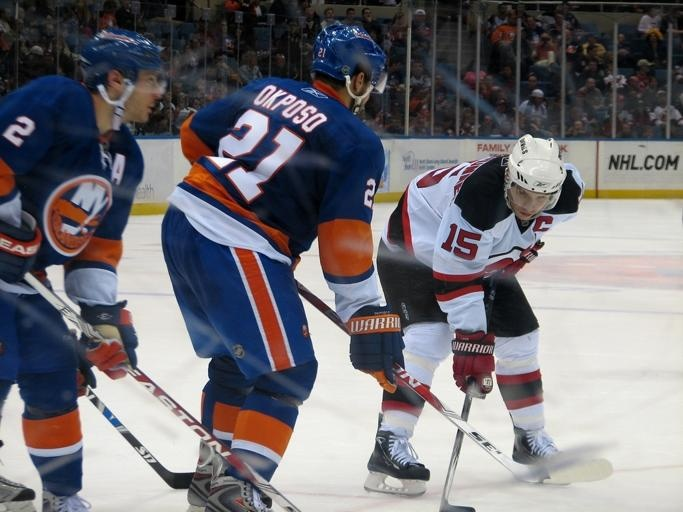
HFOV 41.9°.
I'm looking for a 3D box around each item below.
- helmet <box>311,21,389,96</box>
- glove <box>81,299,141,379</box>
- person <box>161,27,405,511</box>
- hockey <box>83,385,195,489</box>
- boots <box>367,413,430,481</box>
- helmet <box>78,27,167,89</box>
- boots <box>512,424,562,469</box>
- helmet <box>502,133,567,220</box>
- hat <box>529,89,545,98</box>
[{"bbox_3d":[0.024,-0.655,2.984,0.289,0.215,0.205,-13,23,-35],"label":"helmet"},{"bbox_3d":[-0.747,0.263,2.975,0.109,0.252,0.210,-21,-11,-44],"label":"glove"},{"bbox_3d":[-0.177,0.032,2.817,0.784,1.554,0.635,1,9,-6],"label":"person"},{"bbox_3d":[-0.694,0.651,3.119,0.096,0.370,0.358,-42,-1,4],"label":"hockey"},{"bbox_3d":[0.224,0.705,3.270,0.113,0.212,0.328,9,-7,-35],"label":"boots"},{"bbox_3d":[-0.704,-0.640,2.920,0.258,0.208,0.188,-11,15,-8],"label":"helmet"},{"bbox_3d":[0.773,0.732,3.421,0.236,0.149,0.080,-10,-9,44],"label":"boots"},{"bbox_3d":[0.642,-0.301,3.250,0.241,0.289,0.302,7,39,-3],"label":"helmet"},{"bbox_3d":[2.839,-2.349,12.835,0.154,0.111,0.111,2,14,32],"label":"hat"}]
